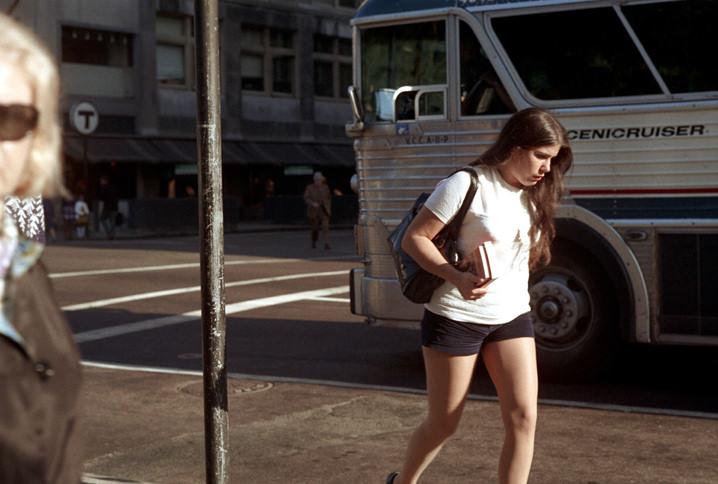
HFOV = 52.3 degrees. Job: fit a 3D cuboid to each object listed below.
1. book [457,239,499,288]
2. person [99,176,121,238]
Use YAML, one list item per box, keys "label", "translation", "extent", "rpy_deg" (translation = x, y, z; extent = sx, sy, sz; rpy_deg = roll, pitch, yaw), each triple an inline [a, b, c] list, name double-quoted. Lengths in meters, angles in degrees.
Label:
- label: "book"
  translation: [0.656, 0.114, 3.993]
  extent: [0.203, 0.237, 0.234]
  rpy_deg: [1, 7, 8]
- label: "person"
  translation: [-9.291, -1.274, 27.028]
  extent: [0.624, 2.194, 1.179]
  rpy_deg: [-2, 7, -19]
